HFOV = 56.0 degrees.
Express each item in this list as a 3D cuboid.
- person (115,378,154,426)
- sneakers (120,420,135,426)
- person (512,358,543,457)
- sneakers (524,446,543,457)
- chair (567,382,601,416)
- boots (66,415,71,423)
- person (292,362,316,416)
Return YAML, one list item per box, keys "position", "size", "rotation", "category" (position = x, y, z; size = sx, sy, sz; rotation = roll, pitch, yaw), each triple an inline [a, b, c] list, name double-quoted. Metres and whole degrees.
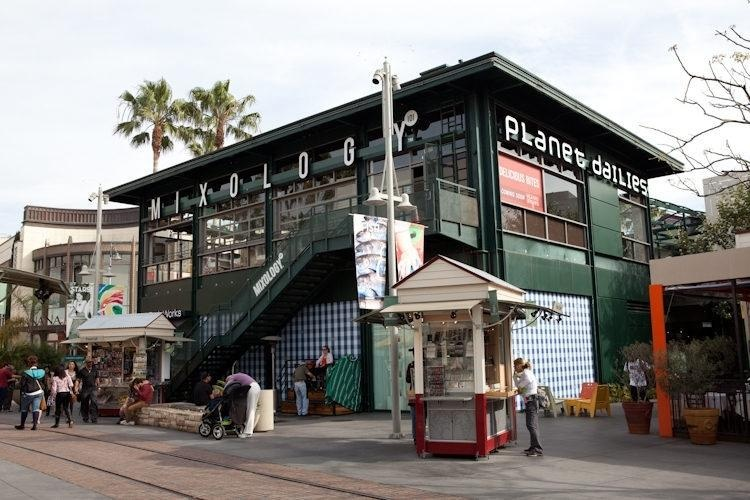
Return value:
- position: [-8.523, 5.378, 25.217]
  size: [1.056, 1.603, 0.585]
  rotation: [-1, -13, -2]
  category: "person"
- position: [-8.750, 6.116, 25.056]
  size: [0.473, 0.212, 0.204]
  rotation: [-4, -10, 43]
  category: "sneakers"
- position: [4.138, 4.186, 19.041]
  size: [0.636, 2.534, 0.848]
  rotation: [-4, -13, 11]
  category: "person"
- position: [4.200, 5.322, 18.689]
  size: [0.465, 0.207, 0.217]
  rotation: [-1, -6, 40]
  category: "sneakers"
- position: [7.492, 5.388, 25.356]
  size: [1.115, 1.084, 0.768]
  rotation: [-7, -14, 19]
  category: "chair"
- position: [-10.514, 5.851, 24.297]
  size: [0.138, 0.279, 0.263]
  rotation: [3, 20, -11]
  category: "boots"
- position: [-2.758, 5.412, 27.753]
  size: [0.775, 2.093, 0.674]
  rotation: [-1, -13, -2]
  category: "person"
